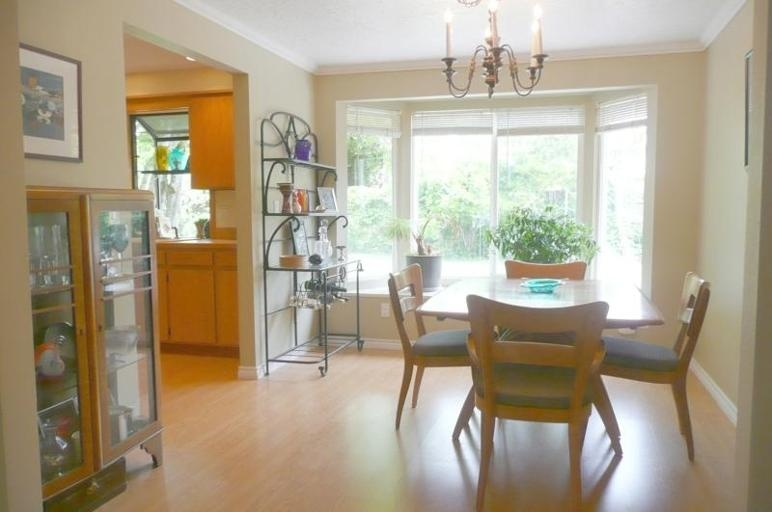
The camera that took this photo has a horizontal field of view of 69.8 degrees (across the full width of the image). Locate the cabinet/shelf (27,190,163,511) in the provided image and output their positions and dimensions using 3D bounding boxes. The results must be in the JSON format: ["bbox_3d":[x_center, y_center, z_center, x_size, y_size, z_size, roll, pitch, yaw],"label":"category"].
[{"bbox_3d":[-1.652,0.495,3.195,0.246,1.787,0.916,5,14,25],"label":"cabinet/shelf"}]

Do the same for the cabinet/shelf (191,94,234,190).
[{"bbox_3d":[-1.776,-1.171,5.646,0.475,0.931,0.148,3,13,15],"label":"cabinet/shelf"}]

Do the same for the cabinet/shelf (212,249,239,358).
[{"bbox_3d":[-1.529,0.417,5.328,0.233,1.034,0.114,1,13,10],"label":"cabinet/shelf"}]

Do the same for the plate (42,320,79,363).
[{"bbox_3d":[-1.763,0.451,3.019,0.152,0.191,0.091,-6,26,-35],"label":"plate"}]

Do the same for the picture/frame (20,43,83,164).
[{"bbox_3d":[-1.937,-0.888,3.226,0.090,0.625,0.410,3,13,18],"label":"picture/frame"}]

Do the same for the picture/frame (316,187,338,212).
[{"bbox_3d":[-0.592,-0.565,5.537,0.030,0.290,0.274,-13,-16,33],"label":"picture/frame"}]

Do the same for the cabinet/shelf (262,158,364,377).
[{"bbox_3d":[-0.667,0.048,5.321,0.740,1.972,1.360,2,13,11],"label":"cabinet/shelf"}]

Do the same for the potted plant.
[{"bbox_3d":[0.394,0.007,5.899,0.972,1.019,0.800,0,4,12],"label":"potted plant"}]

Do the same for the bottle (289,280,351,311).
[{"bbox_3d":[-0.703,0.372,5.246,0.430,0.201,0.290,-1,0,25],"label":"bottle"}]
